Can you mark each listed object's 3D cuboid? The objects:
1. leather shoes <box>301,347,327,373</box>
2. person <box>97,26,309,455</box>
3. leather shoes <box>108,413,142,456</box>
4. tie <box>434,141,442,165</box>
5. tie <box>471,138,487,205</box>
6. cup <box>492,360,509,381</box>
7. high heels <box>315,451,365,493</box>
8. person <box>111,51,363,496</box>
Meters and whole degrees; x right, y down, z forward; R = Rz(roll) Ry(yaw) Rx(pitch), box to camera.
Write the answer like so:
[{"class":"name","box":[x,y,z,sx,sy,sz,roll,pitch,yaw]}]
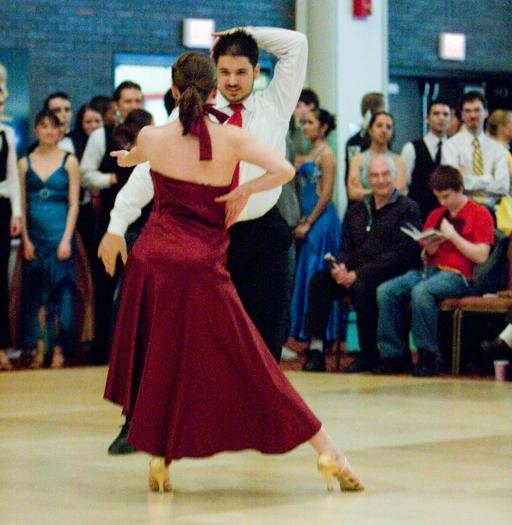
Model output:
[{"class":"leather shoes","box":[0.380,0.635,5.750,0.111,0.110,0.254,0,-6,1]},{"class":"person","box":[-0.179,-0.076,3.234,0.671,1.702,0.458,5,-8,-7]},{"class":"leather shoes","box":[-0.508,0.667,3.384,0.068,0.155,0.116,-27,-42,35]},{"class":"tie","box":[1.278,-0.766,6.282,0.052,0.174,0.146,2,8,12]},{"class":"tie","box":[1.495,-0.623,5.994,0.091,0.432,0.238,2,8,13]},{"class":"cup","box":[1.439,0.634,5.239,0.097,0.114,0.098,2,1,0]},{"class":"high heels","box":[0.262,0.655,2.770,0.071,0.123,0.202,-11,-32,39]},{"class":"person","box":[-0.127,0.036,2.781,0.773,1.356,0.380,1,8,5]}]
